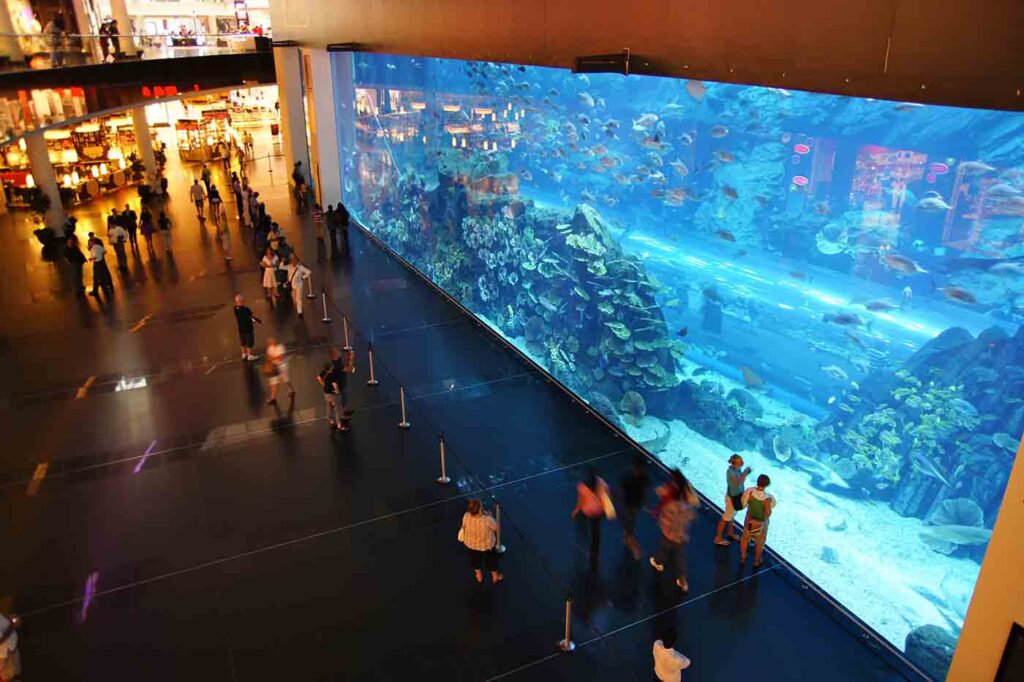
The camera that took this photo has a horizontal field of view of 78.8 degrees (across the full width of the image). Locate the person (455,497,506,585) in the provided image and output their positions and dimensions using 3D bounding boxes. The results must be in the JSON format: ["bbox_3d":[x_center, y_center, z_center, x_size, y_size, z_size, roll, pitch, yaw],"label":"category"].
[{"bbox_3d":[-0.504,3.014,9.862,0.621,1.586,0.665,-3,22,-3],"label":"person"}]

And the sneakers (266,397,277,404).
[{"bbox_3d":[-5.464,1.321,14.133,0.217,0.107,0.205,-9,23,-19],"label":"sneakers"}]

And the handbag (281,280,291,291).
[{"bbox_3d":[-7.235,-1.770,19.910,0.283,0.397,0.391,4,4,6],"label":"handbag"}]

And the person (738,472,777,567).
[{"bbox_3d":[3.920,2.780,10.017,0.441,1.608,0.600,7,23,21],"label":"person"}]

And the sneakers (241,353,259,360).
[{"bbox_3d":[-6.665,0.362,15.823,0.447,0.125,0.265,-3,22,-3],"label":"sneakers"}]

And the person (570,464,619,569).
[{"bbox_3d":[1.340,2.736,10.304,0.714,1.628,1.194,1,22,6],"label":"person"}]
